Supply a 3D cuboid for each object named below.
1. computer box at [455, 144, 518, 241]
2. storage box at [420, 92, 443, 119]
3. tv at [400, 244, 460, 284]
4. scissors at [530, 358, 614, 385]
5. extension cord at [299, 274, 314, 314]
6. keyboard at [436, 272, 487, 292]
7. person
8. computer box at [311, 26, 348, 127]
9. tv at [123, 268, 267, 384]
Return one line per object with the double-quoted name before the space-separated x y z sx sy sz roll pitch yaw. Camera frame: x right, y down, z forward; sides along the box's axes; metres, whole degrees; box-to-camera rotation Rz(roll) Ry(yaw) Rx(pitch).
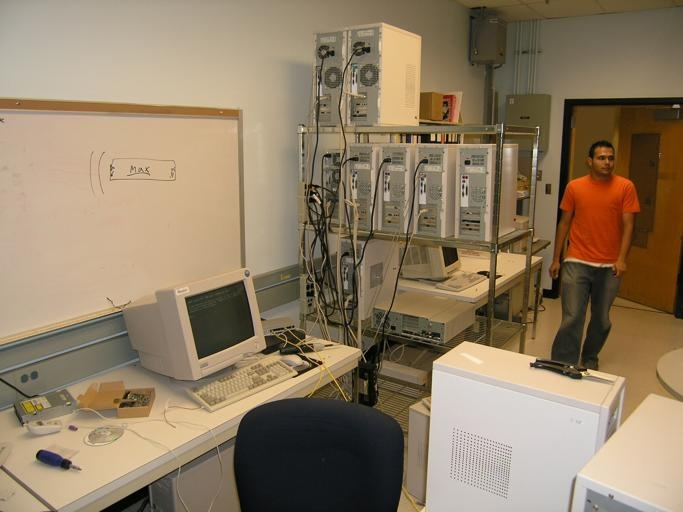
"computer box" 0.856 -0.396 3.063 0.303 0.552 0.423 6 18 25
"storage box" 0.763 -1.235 4.290 0.213 0.225 0.220 9 15 33
"tv" 0.662 0.011 3.772 0.304 0.325 0.418 1 6 30
"scissors" 0.677 0.338 1.541 0.232 0.028 0.085 17 19 25
"extension cord" -0.231 0.242 3.436 0.123 0.260 0.108 -3 10 -21
"keyboard" 0.837 0.174 3.588 0.156 0.048 0.278 11 21 32
"person" 1.927 0.029 3.980 0.591 1.751 0.521 -1 16 4
"computer box" -0.071 -1.136 3.295 0.258 0.564 0.207 4 15 14
"tv" -0.723 0.289 2.568 0.534 0.453 0.537 7 16 28
